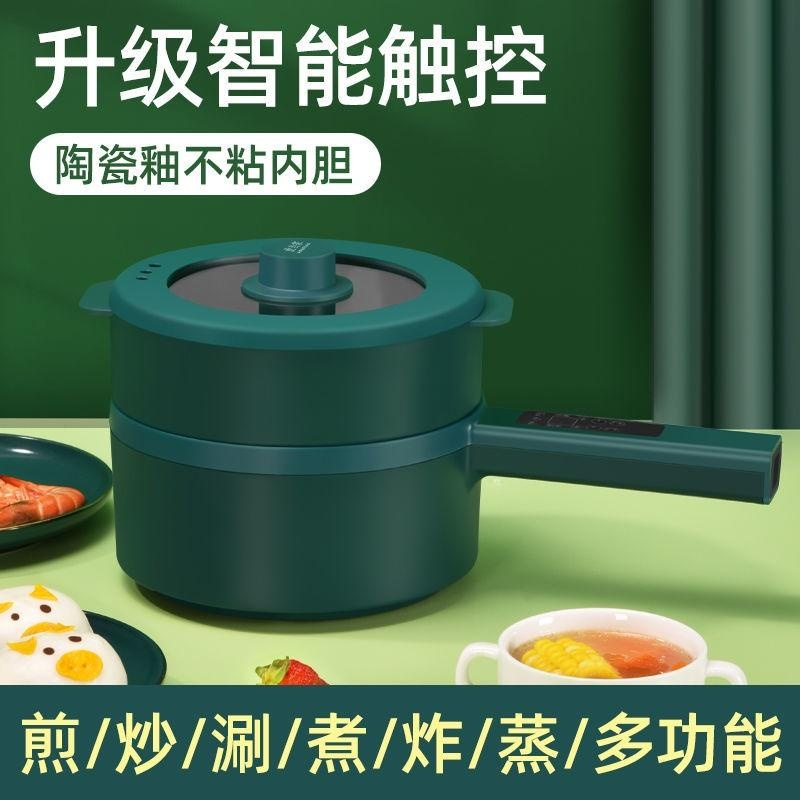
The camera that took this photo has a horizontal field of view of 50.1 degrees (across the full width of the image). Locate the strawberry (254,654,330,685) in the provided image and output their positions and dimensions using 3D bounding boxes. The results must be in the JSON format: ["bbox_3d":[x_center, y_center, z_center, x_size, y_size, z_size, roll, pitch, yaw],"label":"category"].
[{"bbox_3d":[-0.056,0.142,0.449,0.036,0.010,0.019,7,11,5],"label":"strawberry"}]

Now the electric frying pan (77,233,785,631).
[{"bbox_3d":[0.013,0.012,0.577,0.444,0.177,0.220,8,18,8],"label":"electric frying pan"}]

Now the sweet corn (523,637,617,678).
[{"bbox_3d":[0.073,0.113,0.374,0.018,0.006,0.025,2,5,-41],"label":"sweet corn"}]
